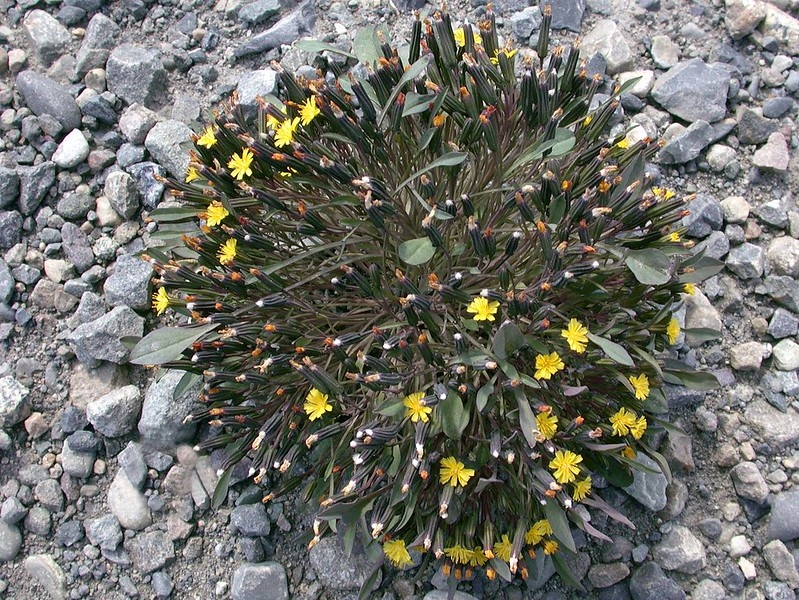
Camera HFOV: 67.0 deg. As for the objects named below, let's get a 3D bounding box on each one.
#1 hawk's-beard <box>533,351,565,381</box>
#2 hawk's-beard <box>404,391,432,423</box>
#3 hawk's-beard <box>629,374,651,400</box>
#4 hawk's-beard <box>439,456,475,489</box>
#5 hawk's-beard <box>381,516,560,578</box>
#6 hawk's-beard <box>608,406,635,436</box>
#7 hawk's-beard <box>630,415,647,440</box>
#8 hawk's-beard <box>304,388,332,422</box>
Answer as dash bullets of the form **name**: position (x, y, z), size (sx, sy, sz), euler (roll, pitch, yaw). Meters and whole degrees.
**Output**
- **hawk's-beard**: position (0.718, 0.325, 2.966), size (0.124, 0.172, 0.119), euler (-10, 82, 2)
- **hawk's-beard**: position (0.081, 0.518, 2.902), size (0.133, 0.054, 0.139), euler (-36, 76, 23)
- **hawk's-beard**: position (1.233, 0.446, 3.088), size (0.132, 0.066, 0.137), euler (-9, 93, -42)
- **hawk's-beard**: position (0.268, 0.857, 3.005), size (0.159, 0.165, 0.141), euler (24, 85, 6)
- **hawk's-beard**: position (0.396, 1.298, 3.207), size (0.446, 0.180, 0.404), euler (27, 129, -20)
- **hawk's-beard**: position (1.144, 0.626, 3.150), size (0.142, 0.068, 0.132), euler (-1, 98, -9)
- **hawk's-beard**: position (1.238, 0.682, 3.142), size (0.060, 0.114, 0.118), euler (14, 105, 25)
- **hawk's-beard**: position (-0.412, 0.523, 3.093), size (0.158, 0.078, 0.159), euler (-19, 90, 10)
